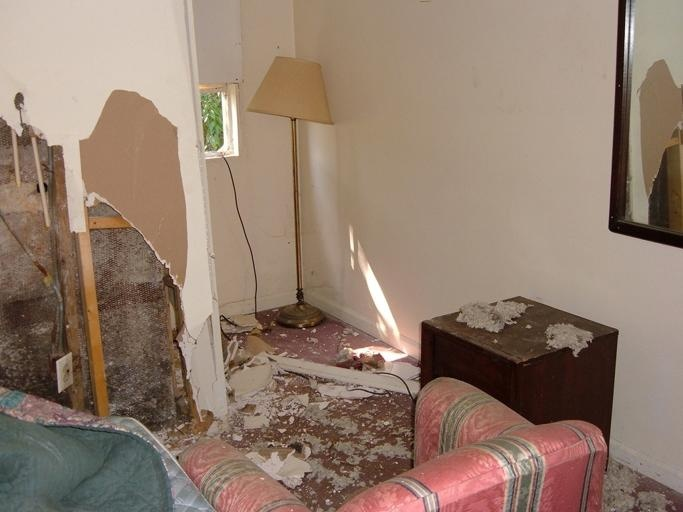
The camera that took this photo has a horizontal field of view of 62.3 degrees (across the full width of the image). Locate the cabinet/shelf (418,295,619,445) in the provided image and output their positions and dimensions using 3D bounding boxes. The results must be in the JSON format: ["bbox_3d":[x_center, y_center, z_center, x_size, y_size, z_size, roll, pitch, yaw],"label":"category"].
[{"bbox_3d":[0.789,0.613,2.553,0.666,0.641,0.647,-7,12,-21],"label":"cabinet/shelf"}]

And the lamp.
[{"bbox_3d":[-0.304,-0.409,3.930,0.523,1.836,0.589,-2,10,1],"label":"lamp"}]
